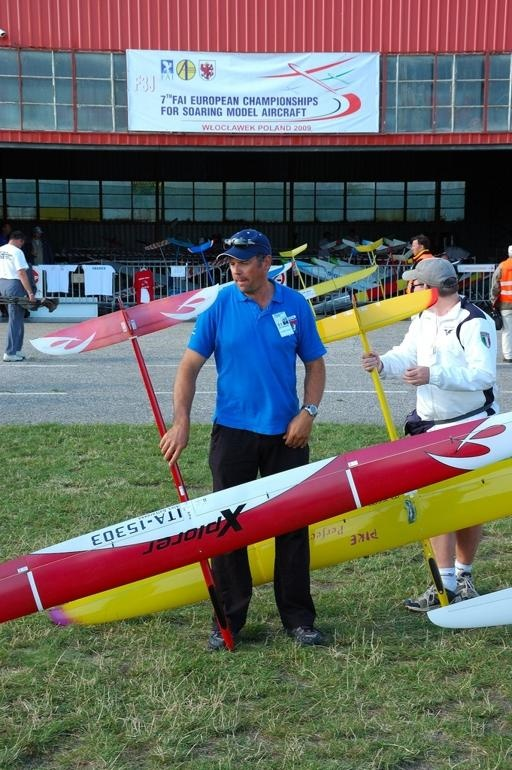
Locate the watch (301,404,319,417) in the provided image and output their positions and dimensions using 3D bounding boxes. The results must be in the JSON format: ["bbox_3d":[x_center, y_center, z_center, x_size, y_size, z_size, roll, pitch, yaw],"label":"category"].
[{"bbox_3d":[0.225,0.096,3.669,0.065,0.038,0.057,8,-40,-12],"label":"watch"}]

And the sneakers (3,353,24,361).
[{"bbox_3d":[-3.189,-0.371,11.802,0.307,0.117,0.101,-5,33,-22],"label":"sneakers"}]

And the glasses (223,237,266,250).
[{"bbox_3d":[-0.030,-0.552,3.533,0.077,0.061,0.117,7,7,38],"label":"glasses"}]

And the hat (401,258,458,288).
[{"bbox_3d":[0.755,-0.494,3.897,0.133,0.089,0.200,-12,15,-32],"label":"hat"}]

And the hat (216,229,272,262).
[{"bbox_3d":[-0.042,-0.553,3.557,0.131,0.097,0.195,6,9,39],"label":"hat"}]

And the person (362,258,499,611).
[{"bbox_3d":[0.777,0.218,3.944,0.558,1.535,0.741,2,11,7],"label":"person"}]

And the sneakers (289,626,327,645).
[{"bbox_3d":[0.212,1.013,3.628,0.055,0.057,0.146,3,-9,-40],"label":"sneakers"}]

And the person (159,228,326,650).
[{"bbox_3d":[-0.044,0.206,3.689,0.646,1.668,0.514,1,11,3],"label":"person"}]
